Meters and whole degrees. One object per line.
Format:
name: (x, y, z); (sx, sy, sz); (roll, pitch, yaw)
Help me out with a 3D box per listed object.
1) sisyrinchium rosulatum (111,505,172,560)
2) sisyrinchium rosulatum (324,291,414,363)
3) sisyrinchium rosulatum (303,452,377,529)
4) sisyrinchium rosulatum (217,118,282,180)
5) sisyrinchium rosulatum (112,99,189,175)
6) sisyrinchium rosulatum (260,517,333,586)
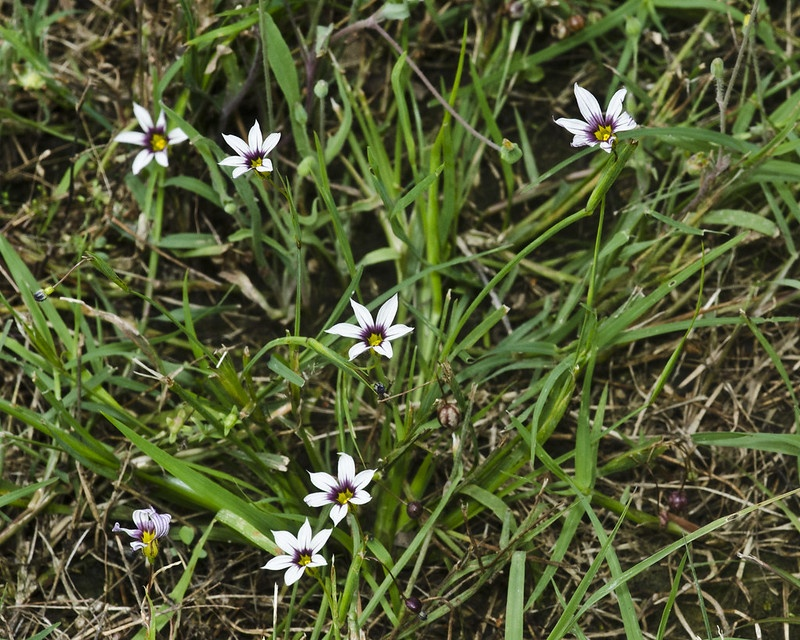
sisyrinchium rosulatum: (-0.776, 0.680, 2.495); (0.164, 0.207, 0.172); (-6, 78, -16)
sisyrinchium rosulatum: (-0.079, 0.032, 2.400); (0.266, 0.353, 0.127); (5, 106, 22)
sisyrinchium rosulatum: (-0.163, 0.537, 2.393); (0.233, 0.270, 0.131); (5, 107, 15)
sisyrinchium rosulatum: (-0.475, -0.534, 2.620); (0.190, 0.081, 0.233); (-23, 65, 13)
sisyrinchium rosulatum: (-0.855, -0.650, 2.807); (0.226, 0.230, 0.121); (-14, 91, 27)
sisyrinchium rosulatum: (-0.279, 0.712, 2.384); (0.215, 0.216, 0.116); (2, 119, 22)
